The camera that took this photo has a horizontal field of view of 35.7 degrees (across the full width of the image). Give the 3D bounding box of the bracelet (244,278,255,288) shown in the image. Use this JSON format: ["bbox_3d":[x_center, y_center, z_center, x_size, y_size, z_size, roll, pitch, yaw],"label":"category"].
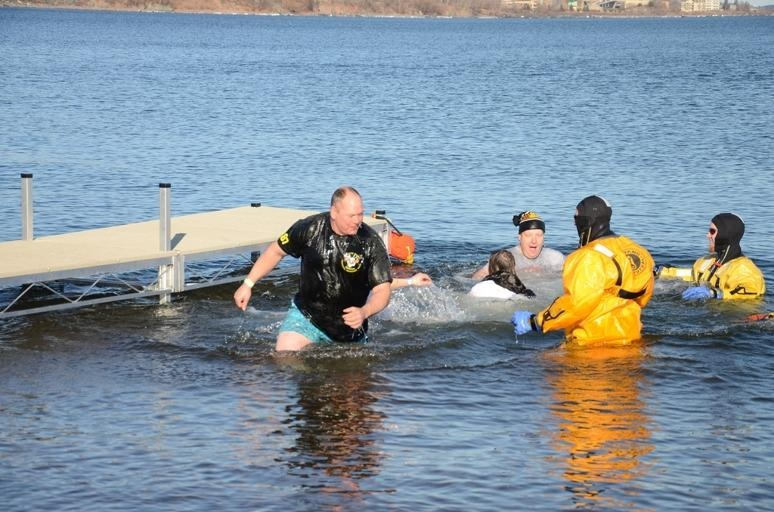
[{"bbox_3d":[-2.298,0.460,19.765,0.243,0.060,0.212,14,11,-13],"label":"bracelet"}]

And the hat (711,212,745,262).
[{"bbox_3d":[6.467,-0.333,22.779,0.559,0.968,0.336,0,18,11],"label":"hat"}]

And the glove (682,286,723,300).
[{"bbox_3d":[5.942,0.725,22.721,0.621,0.299,0.244,-5,16,-14],"label":"glove"}]

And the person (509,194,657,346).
[{"bbox_3d":[3.285,0.332,19.374,1.883,2.523,0.849,-10,19,-21],"label":"person"}]

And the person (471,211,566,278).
[{"bbox_3d":[2.779,-0.207,25.443,2.331,0.959,0.717,-5,23,-9],"label":"person"}]
